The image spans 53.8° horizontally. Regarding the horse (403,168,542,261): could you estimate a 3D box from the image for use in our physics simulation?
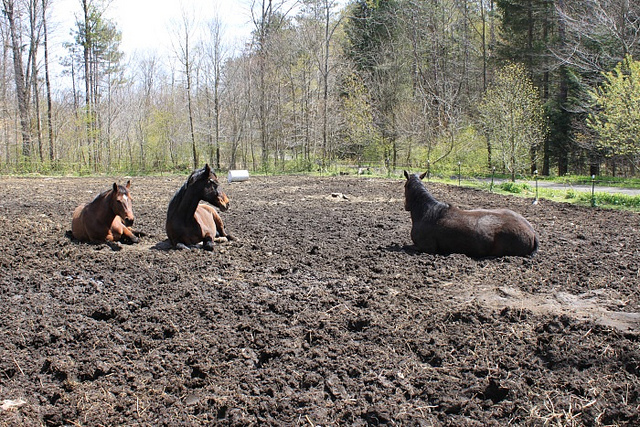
[{"bbox_3d":[5.135,0.168,23.521,5.950,3.523,2.113,8,8,32],"label":"horse"}]

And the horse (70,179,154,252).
[{"bbox_3d":[-8.527,-0.013,24.075,4.490,2.418,1.493,2,5,41],"label":"horse"}]

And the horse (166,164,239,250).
[{"bbox_3d":[-4.628,-0.511,24.467,2.776,3.539,3.467,4,11,-11],"label":"horse"}]
